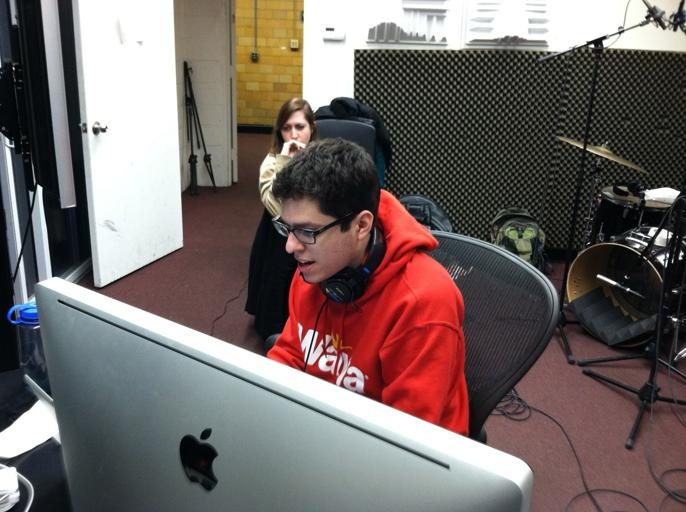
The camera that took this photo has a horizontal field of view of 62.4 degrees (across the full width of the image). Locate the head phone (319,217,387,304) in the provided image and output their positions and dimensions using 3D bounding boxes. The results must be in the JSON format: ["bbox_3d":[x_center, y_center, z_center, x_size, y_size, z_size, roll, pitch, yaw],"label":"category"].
[{"bbox_3d":[0.021,0.009,1.357,0.083,0.216,0.174,32,-12,-17],"label":"head phone"}]

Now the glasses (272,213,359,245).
[{"bbox_3d":[-0.080,-0.064,1.334,0.211,0.067,0.097,-3,9,25],"label":"glasses"}]

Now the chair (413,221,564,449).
[{"bbox_3d":[0.362,0.145,1.690,0.440,0.621,0.419,-21,32,-41],"label":"chair"}]
